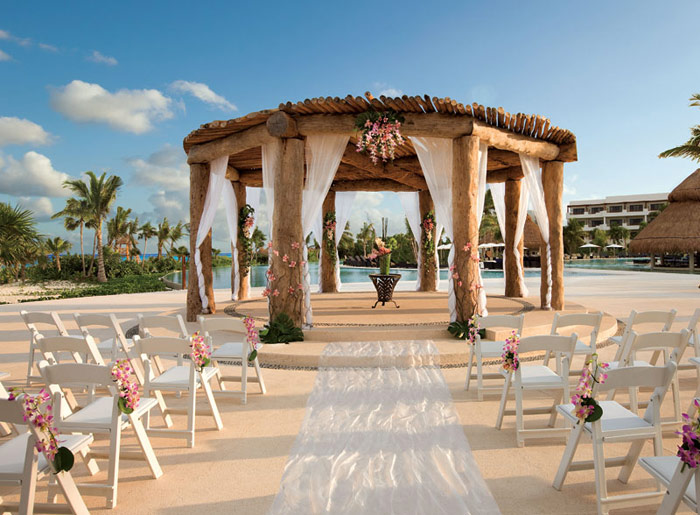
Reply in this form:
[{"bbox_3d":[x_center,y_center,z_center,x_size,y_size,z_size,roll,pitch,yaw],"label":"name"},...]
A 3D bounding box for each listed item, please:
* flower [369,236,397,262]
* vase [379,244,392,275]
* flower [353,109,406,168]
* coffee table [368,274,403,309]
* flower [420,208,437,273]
[{"bbox_3d":[0.725,-0.226,11.273,0.520,0.299,0.519,3,-13,-38],"label":"flower"},{"bbox_3d":[0.778,0.038,11.288,0.203,0.655,0.460,-1,3,6],"label":"vase"},{"bbox_3d":[0.550,-2.118,9.295,0.874,0.966,0.916,0,-1,4],"label":"flower"},{"bbox_3d":[0.787,0.706,11.522,0.606,0.732,0.829,-1,3,4],"label":"coffee table"},{"bbox_3d":[2.226,-0.433,14.651,0.447,1.710,0.397,-1,3,2],"label":"flower"}]
